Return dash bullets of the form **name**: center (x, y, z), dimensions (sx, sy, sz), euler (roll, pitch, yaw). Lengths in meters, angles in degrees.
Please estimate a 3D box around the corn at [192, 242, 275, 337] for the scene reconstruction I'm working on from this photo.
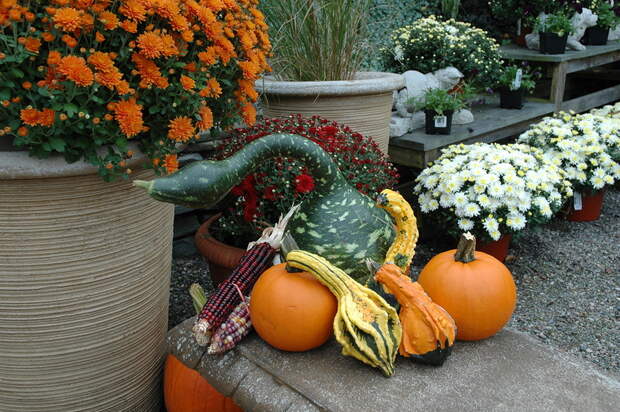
- **corn**: center (-0.312, 0.338, 2.000), dimensions (0.130, 0.142, 0.536), euler (43, 54, -2)
